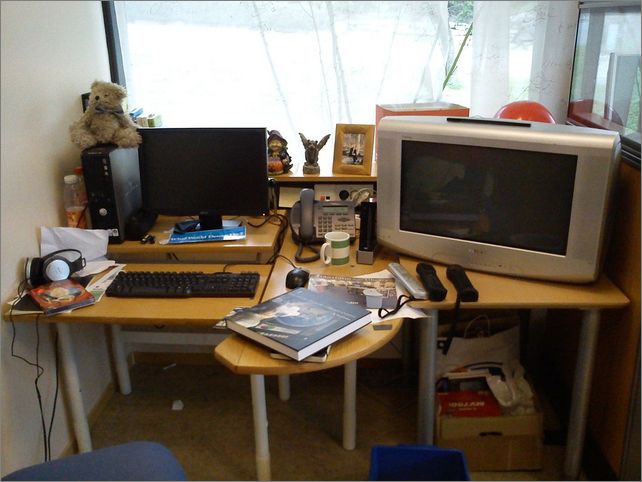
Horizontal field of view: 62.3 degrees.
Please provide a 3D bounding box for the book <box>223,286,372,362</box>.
[{"bbox_3d":[-0.072,0.293,1.922,0.374,0.101,0.379,15,26,37],"label":"book"}]

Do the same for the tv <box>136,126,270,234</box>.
[{"bbox_3d":[-0.561,-0.293,2.467,0.582,0.402,0.069,0,16,4],"label":"tv"}]

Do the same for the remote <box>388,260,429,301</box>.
[{"bbox_3d":[0.351,0.154,2.151,0.064,0.031,0.199,-8,24,-10],"label":"remote"}]

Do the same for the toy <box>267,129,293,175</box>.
[{"bbox_3d":[-0.216,-0.459,2.753,0.121,0.202,0.175,-2,21,-2],"label":"toy"}]

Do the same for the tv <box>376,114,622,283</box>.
[{"bbox_3d":[0.671,-0.168,2.177,0.907,0.596,0.160,10,25,26],"label":"tv"}]

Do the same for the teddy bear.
[{"bbox_3d":[-0.985,-0.558,2.378,0.295,0.294,0.182,-9,23,-19],"label":"teddy bear"}]

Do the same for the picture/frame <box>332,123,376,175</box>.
[{"bbox_3d":[0.167,-0.463,2.684,0.208,0.256,0.115,2,26,1],"label":"picture/frame"}]

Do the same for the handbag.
[{"bbox_3d":[0.742,0.557,2.526,0.391,0.303,0.122,1,9,-2],"label":"handbag"}]
